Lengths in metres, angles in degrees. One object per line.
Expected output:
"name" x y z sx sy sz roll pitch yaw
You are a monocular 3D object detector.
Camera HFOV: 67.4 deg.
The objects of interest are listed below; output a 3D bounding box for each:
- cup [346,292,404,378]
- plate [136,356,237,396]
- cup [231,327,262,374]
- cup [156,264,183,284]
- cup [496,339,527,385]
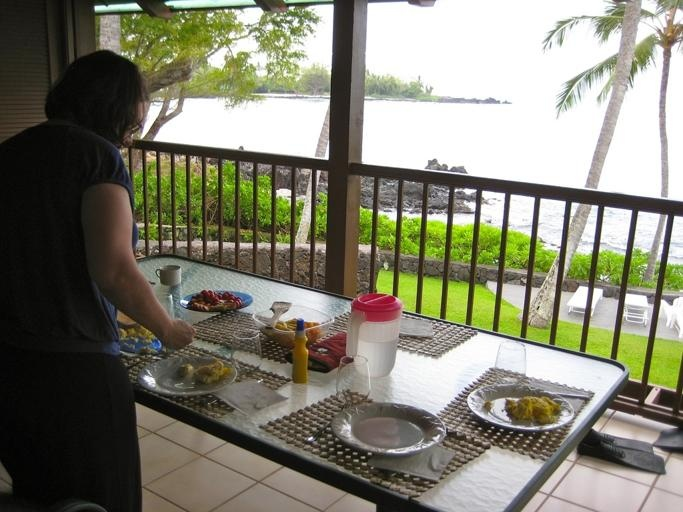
"cup" 0.105 0.259 1.616 0.228 0.254 0.174 -6 9 -33
"plate" -0.471 0.368 1.540 0.272 0.039 0.274 8 10 -13
"cup" -0.299 0.310 1.679 0.109 0.116 0.112 0 5 0
"cup" -0.770 0.078 2.318 0.107 0.075 0.079 4 11 15
"cup" 0.558 0.336 1.673 0.103 0.106 0.105 1 0 0
